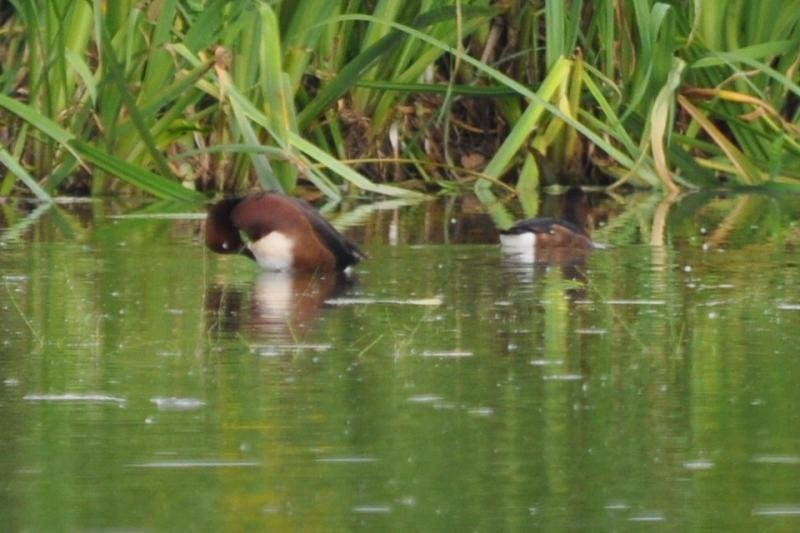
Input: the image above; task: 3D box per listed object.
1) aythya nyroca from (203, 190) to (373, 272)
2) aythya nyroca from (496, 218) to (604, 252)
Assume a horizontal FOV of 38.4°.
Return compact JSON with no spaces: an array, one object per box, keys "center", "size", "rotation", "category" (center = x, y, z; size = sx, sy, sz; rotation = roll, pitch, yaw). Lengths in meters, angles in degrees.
[{"center":[-0.502,-0.150,5.181],"size":[0.683,0.322,0.327],"rotation":[2,5,11],"category":"aythya nyroca"},{"center":[0.736,-0.150,5.808],"size":[0.550,0.197,0.176],"rotation":[3,6,-25],"category":"aythya nyroca"}]
